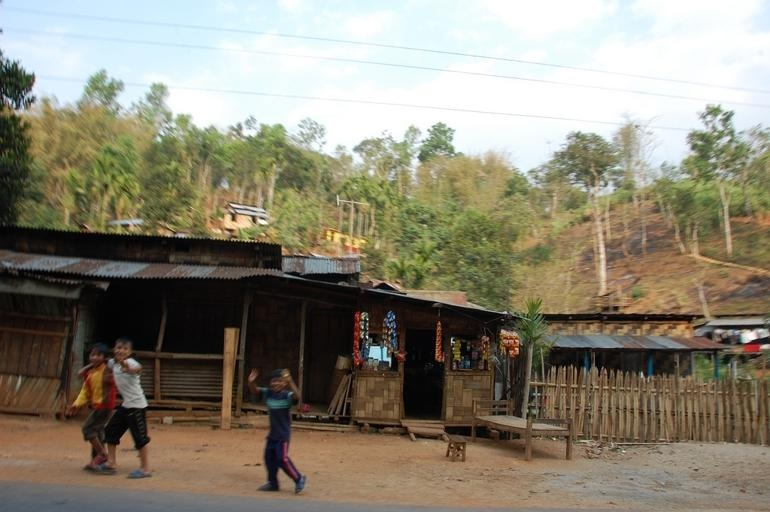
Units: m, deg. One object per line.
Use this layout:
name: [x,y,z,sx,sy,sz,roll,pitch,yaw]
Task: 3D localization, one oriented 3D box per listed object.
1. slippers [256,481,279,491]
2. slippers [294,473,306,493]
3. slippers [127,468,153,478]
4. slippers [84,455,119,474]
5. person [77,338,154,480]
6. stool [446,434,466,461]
slippers: [-2.915,5.819,17.863,0.545,0.200,0.203,4,-9,4]
slippers: [-2.109,5.707,17.761,0.228,0.466,0.179,11,-26,-13]
slippers: [-6.183,5.530,18.024,0.456,0.156,0.235,3,-10,-1]
slippers: [-7.212,5.367,18.177,0.703,0.243,0.374,10,-6,-1]
person: [-6.562,3.843,18.023,1.513,3.483,0.624,5,8,13]
stool: [2.138,5.752,21.232,0.522,0.661,0.731,0,8,-16]
